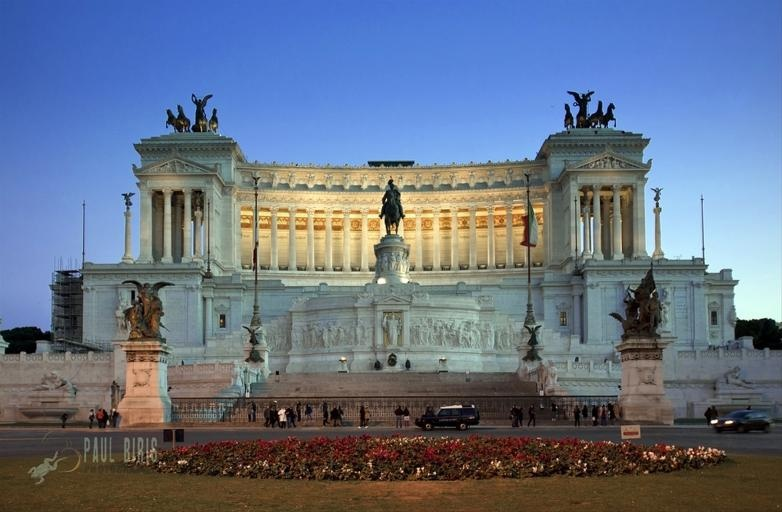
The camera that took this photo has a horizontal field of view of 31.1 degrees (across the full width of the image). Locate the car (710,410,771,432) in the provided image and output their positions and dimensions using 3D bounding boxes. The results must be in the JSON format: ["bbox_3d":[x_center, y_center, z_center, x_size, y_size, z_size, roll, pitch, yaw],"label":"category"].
[{"bbox_3d":[19.361,9.094,77.080,2.942,0.875,1.285,5,-11,-20],"label":"car"}]

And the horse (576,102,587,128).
[{"bbox_3d":[18.174,-13.401,133.266,0.793,2.543,0.951,-2,-7,13],"label":"horse"}]

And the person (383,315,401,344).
[{"bbox_3d":[0.224,5.421,105.397,1.385,2.443,0.720,0,-6,-3],"label":"person"}]

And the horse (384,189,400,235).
[{"bbox_3d":[0.291,-3.632,113.865,1.241,3.798,2.883,-1,-6,0],"label":"horse"}]

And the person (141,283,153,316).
[{"bbox_3d":[-13.743,2.472,79.775,0.639,1.823,0.685,0,-6,-10],"label":"person"}]

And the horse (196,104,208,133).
[{"bbox_3d":[-17.882,-13.156,134.091,0.610,2.429,1.519,-5,-7,32],"label":"horse"}]

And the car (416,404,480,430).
[{"bbox_3d":[3.249,9.002,78.422,2.857,0.965,1.455,1,-9,1],"label":"car"}]
